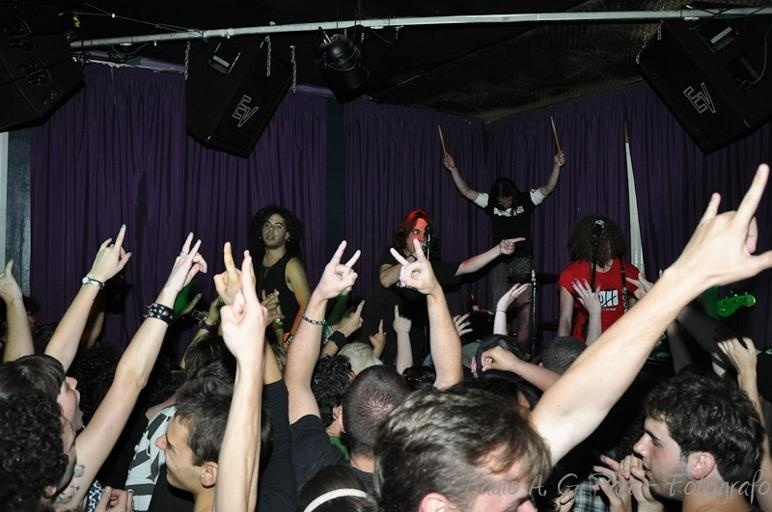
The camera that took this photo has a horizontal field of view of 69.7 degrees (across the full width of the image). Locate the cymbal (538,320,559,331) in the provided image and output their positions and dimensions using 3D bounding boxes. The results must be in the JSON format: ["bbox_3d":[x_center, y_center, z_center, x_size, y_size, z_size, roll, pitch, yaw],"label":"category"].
[{"bbox_3d":[1.594,0.683,5.457,0.179,0.042,0.186,-1,2,5],"label":"cymbal"}]

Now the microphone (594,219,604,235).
[{"bbox_3d":[1.845,-0.243,4.812,0.087,0.131,0.039,-3,-37,23],"label":"microphone"}]

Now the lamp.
[{"bbox_3d":[-0.397,-1.745,4.836,0.433,0.734,0.484,-9,19,-19],"label":"lamp"}]

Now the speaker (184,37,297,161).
[{"bbox_3d":[-1.380,-1.484,5.128,0.928,0.896,0.692,6,-6,-18],"label":"speaker"}]
